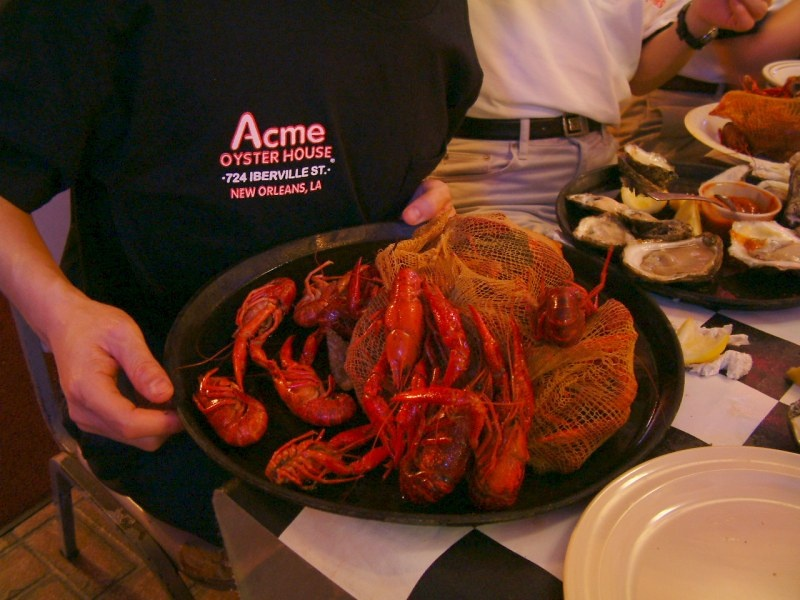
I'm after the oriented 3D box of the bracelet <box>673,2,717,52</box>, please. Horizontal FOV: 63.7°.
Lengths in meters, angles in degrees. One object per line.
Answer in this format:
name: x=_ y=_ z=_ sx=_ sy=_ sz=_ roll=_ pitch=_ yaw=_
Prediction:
bracelet: x=0.960 y=-0.859 z=2.110 sx=0.122 sy=0.156 sz=0.062 roll=2 pitch=39 yaw=51
